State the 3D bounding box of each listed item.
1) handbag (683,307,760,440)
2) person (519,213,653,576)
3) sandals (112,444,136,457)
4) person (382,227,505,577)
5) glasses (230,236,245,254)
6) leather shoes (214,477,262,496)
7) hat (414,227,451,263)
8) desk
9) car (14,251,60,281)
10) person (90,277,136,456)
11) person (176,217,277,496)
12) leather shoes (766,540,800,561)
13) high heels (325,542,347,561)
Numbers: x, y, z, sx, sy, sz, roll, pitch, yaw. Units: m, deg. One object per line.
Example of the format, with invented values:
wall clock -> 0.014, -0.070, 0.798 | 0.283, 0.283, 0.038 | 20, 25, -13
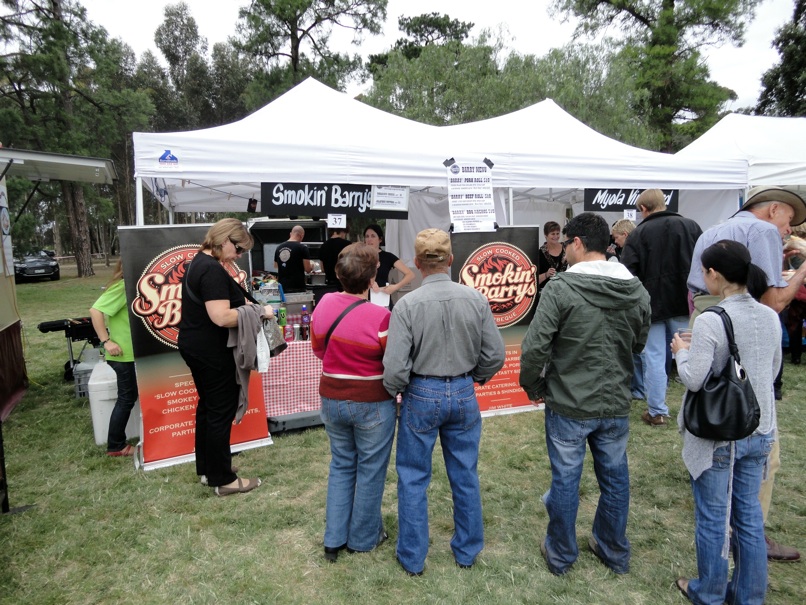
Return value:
handbag -> 2.028, 0.448, 3.984 | 0.443, 0.828, 0.211 | 2, 9, 25
person -> 1.295, 0.649, 4.503 | 0.902, 2.582, 0.465 | 0, 8, 6
sandals -> -2.772, 1.464, 6.173 | 0.239, 0.114, 0.092 | -10, 5, -18
person -> 0.276, 0.710, 4.519 | 0.822, 2.474, 0.352 | -2, 8, -2
glasses -> -1.403, -0.498, 5.354 | 0.095, 0.116, 0.115 | -11, 19, 13
leather shoes -> -1.445, 1.627, 5.496 | 0.298, 0.102, 0.162 | -5, 4, -14
hat -> 0.215, -0.425, 4.591 | 0.185, 0.240, 0.269 | 1, 11, 5
desk -> -1.062, 0.881, 6.663 | 0.740, 0.820, 0.418 | -6, -3, 11
car -> -13.870, -1.414, 23.606 | 1.356, 1.008, 2.726 | -3, 9, -35
person -> -2.745, 0.595, 5.979 | 0.334, 1.840, 0.628 | -5, 9, -26
person -> -1.556, 0.485, 5.339 | 0.658, 2.391, 0.418 | -4, 8, -16
leather shoes -> 2.759, 1.827, 4.615 | 0.246, 0.118, 0.108 | -5, 2, 7
high heels -> -0.517, 1.872, 4.690 | 0.061, 0.084, 0.178 | 1, -2, 4
